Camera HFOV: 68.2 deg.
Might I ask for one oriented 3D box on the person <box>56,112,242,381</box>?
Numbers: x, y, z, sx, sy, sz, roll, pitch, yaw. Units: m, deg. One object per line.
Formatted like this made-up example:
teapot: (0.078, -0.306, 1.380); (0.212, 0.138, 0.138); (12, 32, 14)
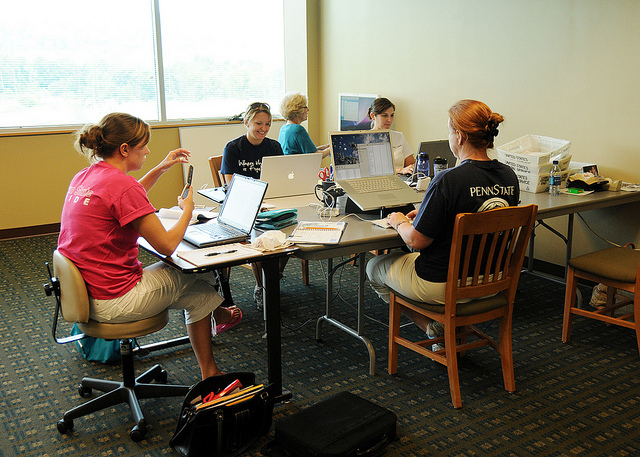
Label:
person: (-0.973, 0.120, 2.558); (0.789, 1.434, 0.471); (-7, 20, -14)

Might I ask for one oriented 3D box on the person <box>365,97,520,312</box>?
person: (0.678, -0.102, 2.768); (0.771, 1.227, 0.526); (12, 24, 35)

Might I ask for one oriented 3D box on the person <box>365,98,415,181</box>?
person: (0.606, -0.801, 4.342); (0.567, 0.722, 0.500); (-3, 5, -17)

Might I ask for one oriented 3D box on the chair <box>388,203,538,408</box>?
chair: (0.810, 0.408, 2.891); (0.740, 1.074, 0.769); (-2, 8, -9)

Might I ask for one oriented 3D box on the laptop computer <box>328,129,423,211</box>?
laptop computer: (0.357, -0.395, 3.116); (0.530, 0.481, 0.422); (-8, 20, -17)

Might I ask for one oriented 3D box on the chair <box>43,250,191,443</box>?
chair: (-1.123, 0.583, 2.644); (0.738, 0.883, 0.735); (-2, 3, -41)

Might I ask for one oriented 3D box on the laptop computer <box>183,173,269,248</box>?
laptop computer: (-0.533, -0.094, 2.761); (0.460, 0.317, 0.449); (-9, 18, -36)

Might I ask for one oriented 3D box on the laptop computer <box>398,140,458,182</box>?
laptop computer: (0.893, -0.666, 4.104); (0.552, 0.365, 0.389); (-9, 21, -32)

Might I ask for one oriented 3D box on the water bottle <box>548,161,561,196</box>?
water bottle: (1.804, -0.389, 3.626); (0.085, 0.235, 0.211); (7, 21, 25)

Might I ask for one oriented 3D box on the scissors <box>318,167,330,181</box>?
scissors: (0.031, -0.446, 3.848); (0.120, 0.114, 0.039); (-8, -30, 20)

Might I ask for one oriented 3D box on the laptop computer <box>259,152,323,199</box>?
laptop computer: (-0.227, -0.400, 3.527); (0.498, 0.299, 0.350); (-9, 22, -35)

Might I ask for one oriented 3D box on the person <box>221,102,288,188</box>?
person: (-0.546, -0.665, 4.065); (0.592, 0.764, 0.459); (-2, 16, -18)

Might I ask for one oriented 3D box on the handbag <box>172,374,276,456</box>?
handbag: (-0.481, 0.947, 2.379); (0.286, 0.343, 0.462); (15, 26, 41)
